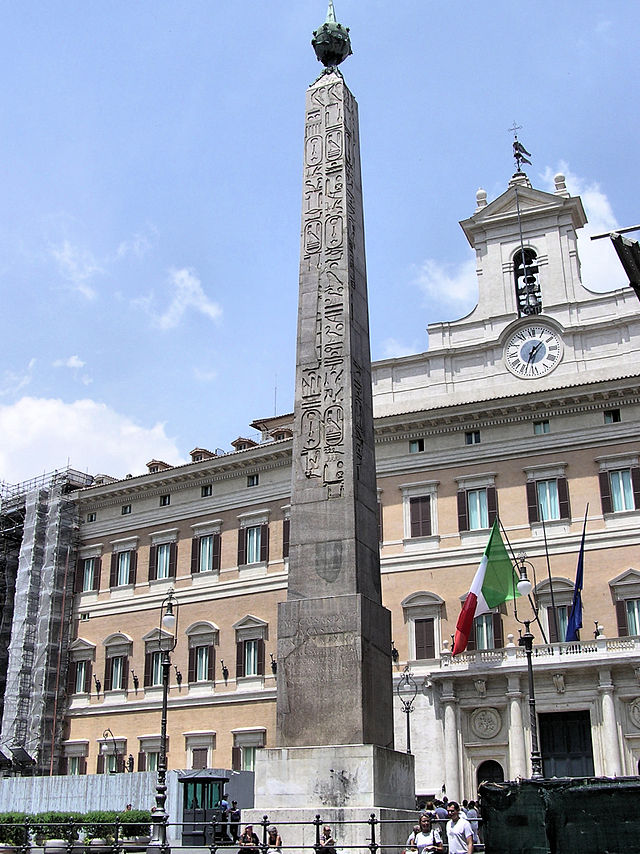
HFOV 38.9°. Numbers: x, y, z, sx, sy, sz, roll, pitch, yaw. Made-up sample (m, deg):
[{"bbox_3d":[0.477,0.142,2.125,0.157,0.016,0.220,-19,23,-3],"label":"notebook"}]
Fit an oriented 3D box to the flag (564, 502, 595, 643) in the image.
[{"bbox_3d":[7.738,4.518,26.956,0.625,4.831,0.822,-3,-48,24],"label":"flag"}]
